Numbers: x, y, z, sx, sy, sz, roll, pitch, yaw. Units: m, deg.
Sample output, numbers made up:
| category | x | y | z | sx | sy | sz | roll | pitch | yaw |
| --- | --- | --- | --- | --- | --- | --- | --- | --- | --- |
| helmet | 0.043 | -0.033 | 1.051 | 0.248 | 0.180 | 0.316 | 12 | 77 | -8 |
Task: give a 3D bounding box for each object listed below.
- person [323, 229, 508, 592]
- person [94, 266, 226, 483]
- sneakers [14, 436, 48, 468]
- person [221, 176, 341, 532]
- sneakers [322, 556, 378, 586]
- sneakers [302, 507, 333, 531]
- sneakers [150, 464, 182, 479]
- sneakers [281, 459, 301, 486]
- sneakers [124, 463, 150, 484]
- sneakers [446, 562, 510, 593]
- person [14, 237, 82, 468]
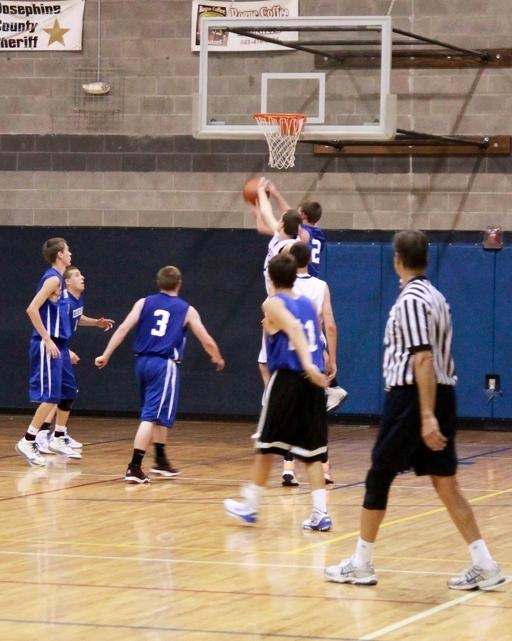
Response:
| category | x | y | z | sx | sy | sz | roll | pitch | yaw |
| --- | --- | --- | --- | --- | --- | --- | --- | --- | --- |
| person | 0.639 | 0.375 | 3.637 | 0.621 | 1.393 | 0.416 | 10 | 9 | 40 |
| person | -0.679 | 0.404 | 6.615 | 0.835 | 1.533 | 0.880 | 3 | 7 | -7 |
| sneakers | -1.715 | 0.996 | 7.345 | 0.229 | 0.243 | 0.290 | 3 | 7 | -12 |
| person | 0.159 | 0.397 | 4.876 | 0.554 | 1.461 | 0.904 | 5 | 7 | 2 |
| sneakers | 0.371 | 0.983 | 3.792 | 0.215 | 0.097 | 0.088 | 3 | -3 | 14 |
| sneakers | 0.317 | 1.029 | 4.962 | 0.071 | 0.088 | 0.188 | 0 | -2 | -22 |
| sneakers | -0.650 | 1.071 | 6.843 | 0.217 | 0.083 | 0.077 | 1 | -2 | 16 |
| sneakers | 0.224 | 1.044 | 6.554 | 0.100 | 0.149 | 0.229 | 0 | -2 | 8 |
| sneakers | -0.786 | 1.020 | 6.377 | 0.152 | 0.147 | 0.156 | 3 | 7 | -8 |
| sneakers | 0.837 | 0.978 | 3.655 | 0.270 | 0.115 | 0.093 | -2 | -11 | 5 |
| person | -1.570 | 0.297 | 7.403 | 0.450 | 1.808 | 0.912 | 3 | 7 | -10 |
